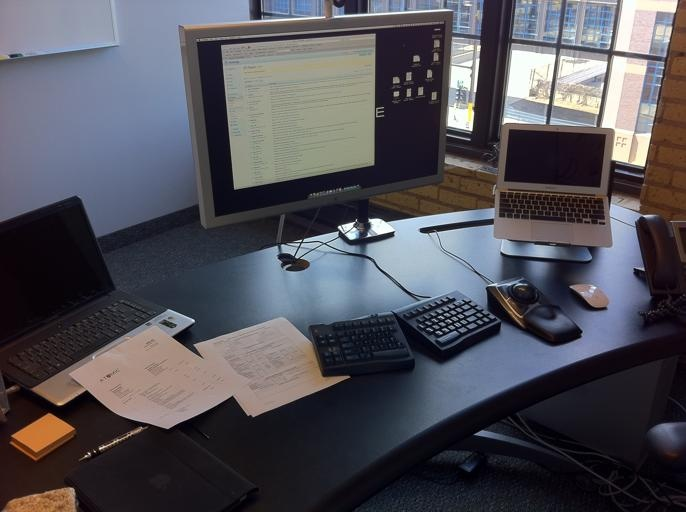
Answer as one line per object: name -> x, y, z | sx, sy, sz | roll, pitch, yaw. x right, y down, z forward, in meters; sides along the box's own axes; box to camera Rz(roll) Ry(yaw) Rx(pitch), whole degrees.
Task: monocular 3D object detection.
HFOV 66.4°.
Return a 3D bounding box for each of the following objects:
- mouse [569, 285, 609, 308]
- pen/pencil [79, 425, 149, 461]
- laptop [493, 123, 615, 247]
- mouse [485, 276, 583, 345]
mouse -> 0.711, 0.112, 1.503 | 0.058, 0.020, 0.078 | -27, 52, -21
pen/pencil -> -0.478, 0.395, 1.099 | 0.136, 0.019, 0.012 | -22, 19, -41
laptop -> 0.705, -0.195, 1.860 | 0.457, 0.317, 0.407 | 5, 49, 5
mouse -> 0.518, 0.144, 1.424 | 0.127, 0.070, 0.219 | -16, 37, -27
